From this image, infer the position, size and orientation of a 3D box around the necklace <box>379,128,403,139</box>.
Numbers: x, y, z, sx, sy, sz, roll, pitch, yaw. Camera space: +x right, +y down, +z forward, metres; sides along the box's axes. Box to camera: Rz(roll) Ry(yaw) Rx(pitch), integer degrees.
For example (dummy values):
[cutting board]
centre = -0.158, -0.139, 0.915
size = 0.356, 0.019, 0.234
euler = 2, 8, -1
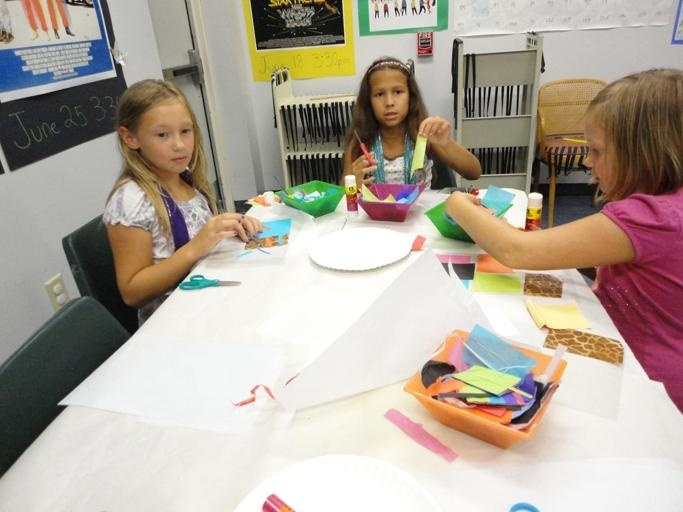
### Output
[necklace]
centre = 0.245, -0.587, 2.215
size = 0.062, 0.051, 0.066
euler = -2, 20, -1

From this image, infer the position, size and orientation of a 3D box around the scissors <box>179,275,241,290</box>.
[scissors]
centre = -0.370, 0.072, 1.287
size = 0.155, 0.025, 0.065
euler = 1, 24, 8
